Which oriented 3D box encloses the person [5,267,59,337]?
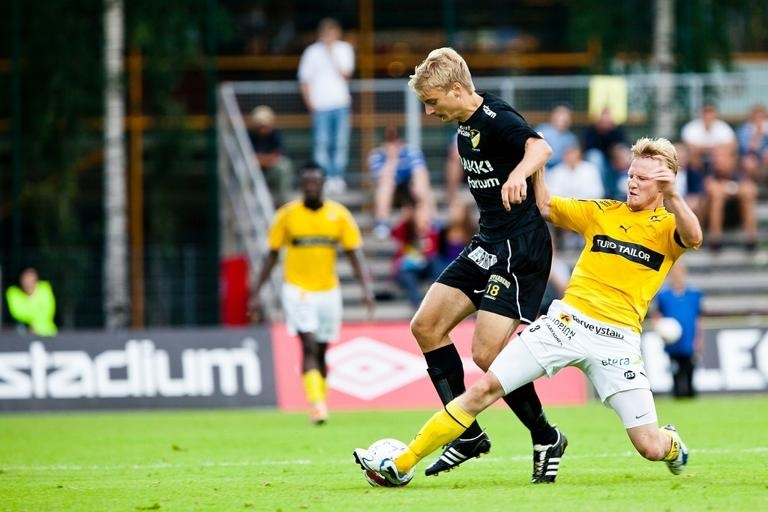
[{"bbox_3d":[-5.247,0.725,18.776,0.715,1.116,0.369,-19,2,-13],"label":"person"}]

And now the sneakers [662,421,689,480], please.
[{"bbox_3d":[2.935,2.037,12.767,0.214,0.678,0.298,-3,14,38],"label":"sneakers"}]

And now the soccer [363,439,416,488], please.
[{"bbox_3d":[0.062,2.070,12.485,0.386,0.439,0.510,1,-11,-4],"label":"soccer"}]

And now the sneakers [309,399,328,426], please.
[{"bbox_3d":[-0.840,2.033,16.199,0.205,0.311,0.260,-5,1,-5],"label":"sneakers"}]
